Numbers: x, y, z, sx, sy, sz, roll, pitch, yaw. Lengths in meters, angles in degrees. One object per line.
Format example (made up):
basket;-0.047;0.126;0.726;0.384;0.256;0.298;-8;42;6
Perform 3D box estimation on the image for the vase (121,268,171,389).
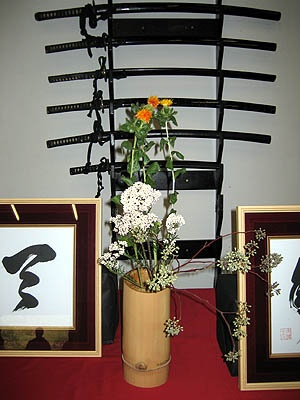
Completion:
vase;-0.014;0.434;1.442;0.161;0.329;0.094;2;6;0
